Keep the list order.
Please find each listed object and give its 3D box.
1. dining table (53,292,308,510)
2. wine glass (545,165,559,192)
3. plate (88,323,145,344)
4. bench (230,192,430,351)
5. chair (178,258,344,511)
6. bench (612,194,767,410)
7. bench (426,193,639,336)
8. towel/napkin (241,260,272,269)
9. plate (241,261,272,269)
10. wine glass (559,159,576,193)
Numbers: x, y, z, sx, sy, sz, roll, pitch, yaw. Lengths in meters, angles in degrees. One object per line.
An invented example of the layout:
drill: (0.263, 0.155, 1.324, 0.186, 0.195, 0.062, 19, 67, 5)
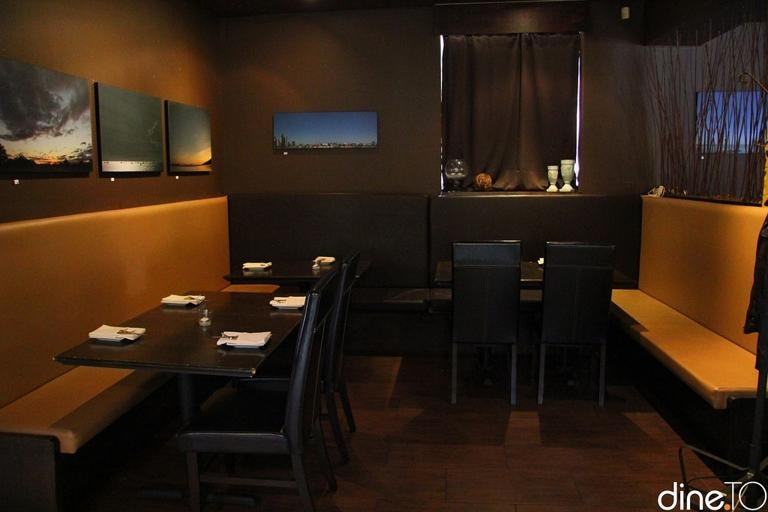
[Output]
dining table: (-1.150, 0.836, 3.607, 0.864, 0.516, 1.079, 2, 9, 8)
wine glass: (1.750, -0.808, 6.214, 0.129, 0.262, 0.247, 2, 13, 14)
plate: (-1.594, 0.463, 3.610, 0.305, 0.051, 0.227, 1, 12, 10)
bench: (-0.483, 0.409, 6.654, 2.582, 1.680, 1.375, 0, 1, 4)
chair: (-0.705, 0.798, 3.535, 0.787, 1.367, 0.634, 1, 12, 10)
bench: (2.338, 0.382, 4.544, 0.745, 1.088, 1.605, -2, 10, -3)
bench: (1.571, 0.119, 5.888, 2.022, 0.941, 0.945, 1, 6, 5)
towel/napkin: (-1.115, 0.087, 5.143, 0.220, 0.068, 0.133, 2, 3, -1)
plate: (-1.106, 0.086, 5.137, 0.201, 0.057, 0.120, 1, 2, -5)
wine glass: (1.909, -0.846, 6.243, 0.150, 0.328, 0.289, 2, 13, 16)
